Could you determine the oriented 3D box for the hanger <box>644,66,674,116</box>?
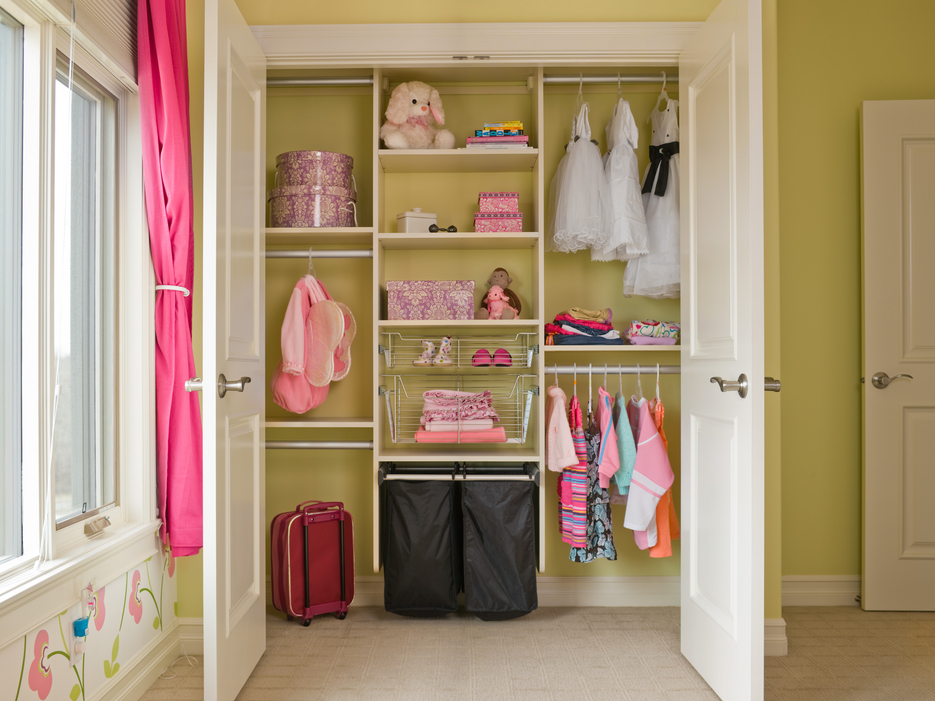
[{"bbox_3d":[0.938,-1.283,4.357,0.236,0.280,0.020,0,-1,1],"label":"hanger"}]

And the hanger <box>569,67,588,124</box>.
[{"bbox_3d":[0.549,-1.226,4.320,0.096,0.264,0.265,1,14,6],"label":"hanger"}]

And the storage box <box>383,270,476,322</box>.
[{"bbox_3d":[-0.173,-0.233,4.179,0.401,0.178,0.134,-1,14,-3],"label":"storage box"}]

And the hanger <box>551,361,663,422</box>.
[{"bbox_3d":[0.680,0.160,4.326,0.639,0.223,0.266,0,14,-1],"label":"hanger"}]

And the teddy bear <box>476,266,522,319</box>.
[{"bbox_3d":[0.154,-0.266,4.334,0.223,0.251,0.275,1,14,2],"label":"teddy bear"}]

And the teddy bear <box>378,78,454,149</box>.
[{"bbox_3d":[-0.251,-1.060,4.342,0.385,0.431,0.304,-2,5,-30],"label":"teddy bear"}]

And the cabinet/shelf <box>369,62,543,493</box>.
[{"bbox_3d":[-0.079,-0.477,4.456,1.009,0.483,2.838,-8,43,12],"label":"cabinet/shelf"}]

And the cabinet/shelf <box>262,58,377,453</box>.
[{"bbox_3d":[-0.718,-0.436,4.307,0.569,1.792,0.721,-2,13,-7],"label":"cabinet/shelf"}]
